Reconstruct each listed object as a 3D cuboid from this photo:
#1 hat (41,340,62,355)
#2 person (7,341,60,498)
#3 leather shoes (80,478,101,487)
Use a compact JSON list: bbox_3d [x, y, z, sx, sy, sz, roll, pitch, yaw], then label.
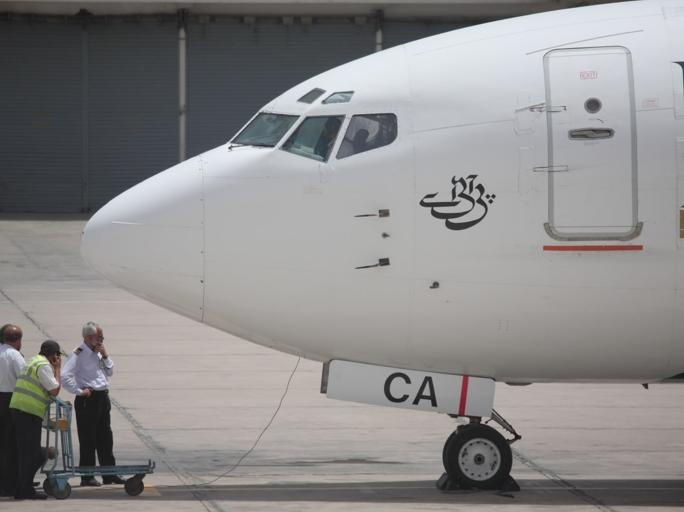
[{"bbox_3d":[-5.013,1.574,22.151,0.250,0.173,0.322,15,17,18],"label":"hat"},{"bbox_3d":[-5.264,2.835,21.972,0.860,2.619,0.944,5,14,14],"label":"person"},{"bbox_3d":[-4.442,3.996,22.532,0.414,0.150,0.130,0,-5,4],"label":"leather shoes"}]
